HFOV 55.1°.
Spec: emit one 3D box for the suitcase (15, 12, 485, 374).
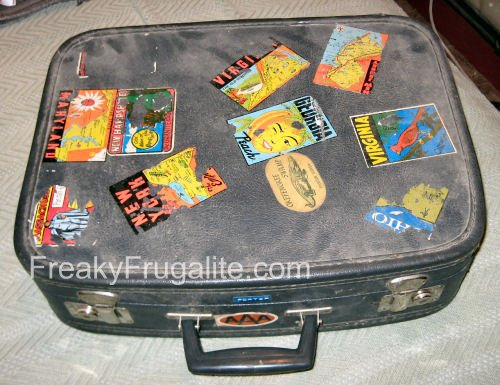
[{"bbox_3d":[0.001,-0.020,1.358,1.151,0.575,0.958,0,47,-2],"label":"suitcase"}]
